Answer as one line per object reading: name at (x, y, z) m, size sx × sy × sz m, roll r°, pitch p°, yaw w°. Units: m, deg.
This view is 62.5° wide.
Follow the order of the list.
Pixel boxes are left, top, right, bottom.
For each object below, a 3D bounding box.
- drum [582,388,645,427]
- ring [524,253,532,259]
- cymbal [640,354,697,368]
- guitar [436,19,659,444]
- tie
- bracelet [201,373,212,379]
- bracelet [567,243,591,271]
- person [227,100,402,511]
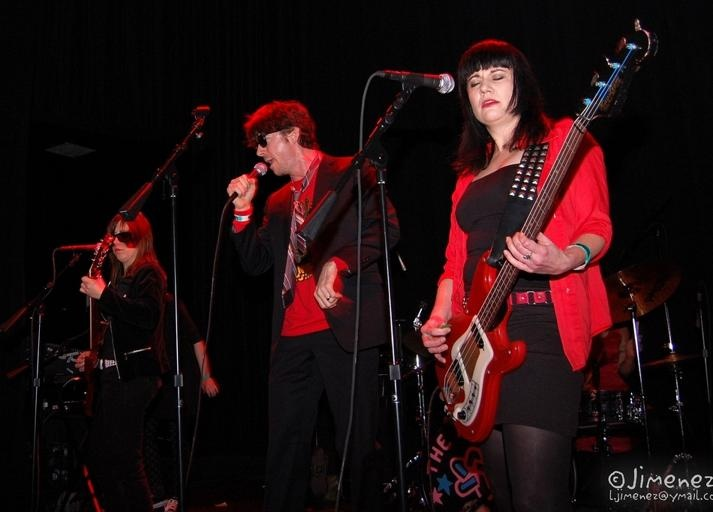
drum at (1.992, 1.203, 4.603) m, size 0.320 × 0.230 × 0.333 m, roll 1°, pitch -20°, yaw 0°
ring at (0.749, 0.001, 2.566) m, size 0.027 × 0.018 × 0.011 m, roll -4°, pitch -16°, yaw 11°
cymbal at (2.578, 0.848, 4.830) m, size 0.256 × 0.089 × 0.283 m, roll -5°, pitch -23°, yaw 0°
guitar at (0.834, -0.043, 2.804) m, size 0.319 × 1.764 × 1.151 m, roll 12°, pitch -20°, yaw -40°
tie at (-0.383, -0.106, 3.694) m, size 0.142 × 1.125 × 0.149 m, roll 11°, pitch -20°, yaw -9°
bracelet at (-1.345, 1.066, 5.222) m, size 0.063 × 0.054 × 0.068 m, roll 0°, pitch -10°, yaw 2°
bracelet at (1.024, 0.006, 2.694) m, size 0.089 × 0.121 × 0.058 m, roll 2°, pitch -3°, yaw 8°
person at (-0.268, 0.191, 3.708) m, size 1.076 × 2.693 × 0.752 m, roll -2°, pitch -15°, yaw 4°
